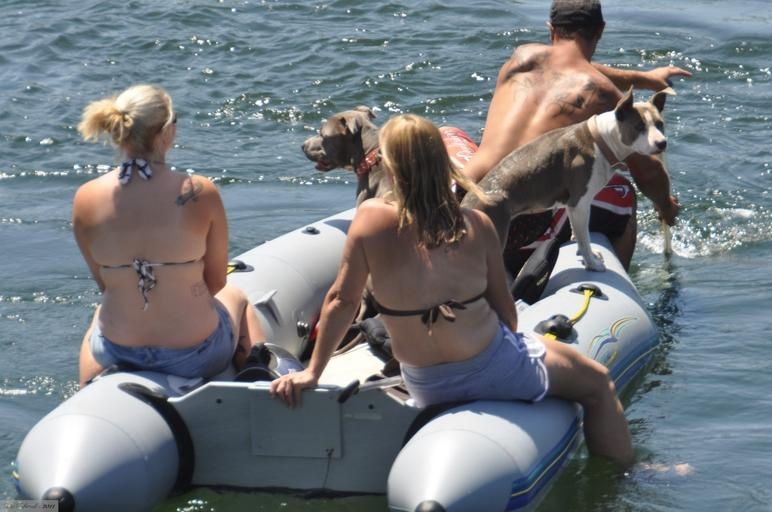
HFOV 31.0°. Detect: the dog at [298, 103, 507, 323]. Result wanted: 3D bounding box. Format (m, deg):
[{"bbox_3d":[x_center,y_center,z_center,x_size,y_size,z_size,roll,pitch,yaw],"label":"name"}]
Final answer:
[{"bbox_3d":[0.301,-0.446,13.753,2.752,1.695,0.862,7,2,16],"label":"dog"}]
